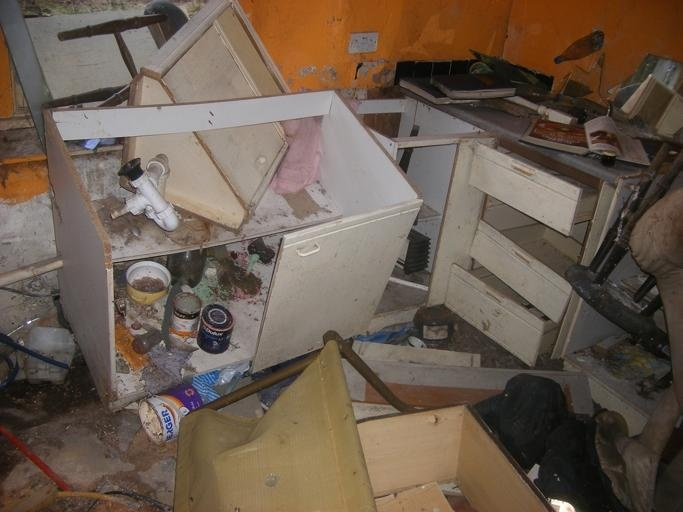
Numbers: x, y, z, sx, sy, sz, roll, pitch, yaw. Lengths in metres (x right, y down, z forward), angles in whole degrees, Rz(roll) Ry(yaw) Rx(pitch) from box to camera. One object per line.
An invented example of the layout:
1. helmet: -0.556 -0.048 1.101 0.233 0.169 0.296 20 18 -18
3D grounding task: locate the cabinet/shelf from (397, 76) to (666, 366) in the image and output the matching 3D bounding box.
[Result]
1. cabinet/shelf: 1.091 0.043 2.890 0.736 0.939 0.978 1 22 -22

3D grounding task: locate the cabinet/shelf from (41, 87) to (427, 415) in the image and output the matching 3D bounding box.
1. cabinet/shelf: -0.594 0.123 3.135 2.104 1.631 1.276 -16 65 -27

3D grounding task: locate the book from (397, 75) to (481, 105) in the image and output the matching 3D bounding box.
1. book: 0.477 -0.897 3.054 0.249 0.050 0.245 -8 33 -32
